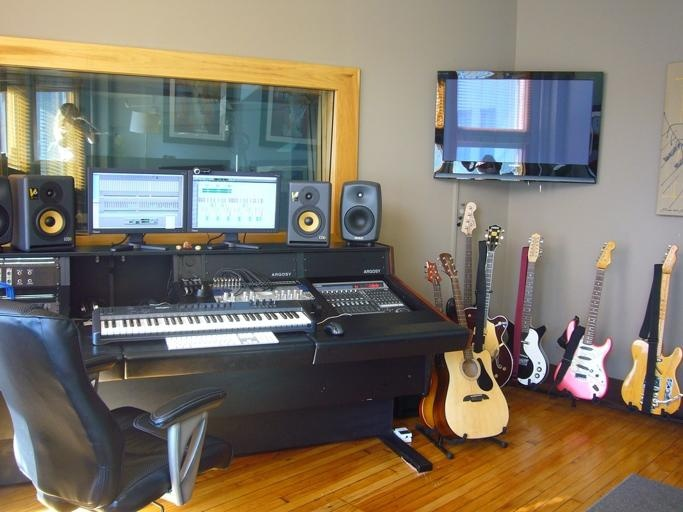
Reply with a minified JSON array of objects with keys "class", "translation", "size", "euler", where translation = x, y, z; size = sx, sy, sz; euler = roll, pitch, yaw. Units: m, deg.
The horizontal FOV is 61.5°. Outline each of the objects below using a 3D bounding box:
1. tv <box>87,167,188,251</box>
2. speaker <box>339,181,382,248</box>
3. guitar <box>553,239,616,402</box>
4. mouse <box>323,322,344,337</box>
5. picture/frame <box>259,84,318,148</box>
[{"class":"tv","translation":[-1.173,-0.284,3.257],"size":[0.480,0.438,0.146],"euler":[-1,2,-17]},{"class":"speaker","translation":[0.117,-0.321,3.695],"size":[0.272,0.419,0.212],"euler":[1,26,1]},{"class":"guitar","translation":[1.684,0.466,3.936],"size":[0.337,1.121,0.318],"euler":[3,11,26]},{"class":"mouse","translation":[-0.043,0.353,2.815],"size":[0.117,0.054,0.077],"euler":[5,12,32]},{"class":"picture/frame","translation":[-0.329,-0.940,3.850],"size":[0.365,0.358,0.090],"euler":[1,5,-22]}]
